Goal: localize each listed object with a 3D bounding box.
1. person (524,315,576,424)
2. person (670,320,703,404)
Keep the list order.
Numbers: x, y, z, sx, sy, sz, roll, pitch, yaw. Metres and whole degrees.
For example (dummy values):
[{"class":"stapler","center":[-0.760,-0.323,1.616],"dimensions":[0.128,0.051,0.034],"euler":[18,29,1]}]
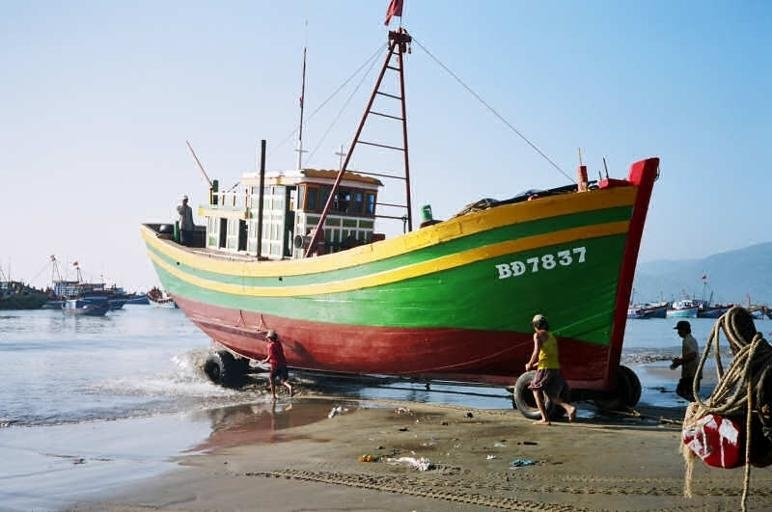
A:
[{"class":"person","center":[3.541,2.444,18.436],"dimensions":[0.947,2.334,0.523],"euler":[4,-2,-5]},{"class":"person","center":[6.701,2.371,19.191],"dimensions":[0.544,1.847,1.373],"euler":[3,-2,18]}]
